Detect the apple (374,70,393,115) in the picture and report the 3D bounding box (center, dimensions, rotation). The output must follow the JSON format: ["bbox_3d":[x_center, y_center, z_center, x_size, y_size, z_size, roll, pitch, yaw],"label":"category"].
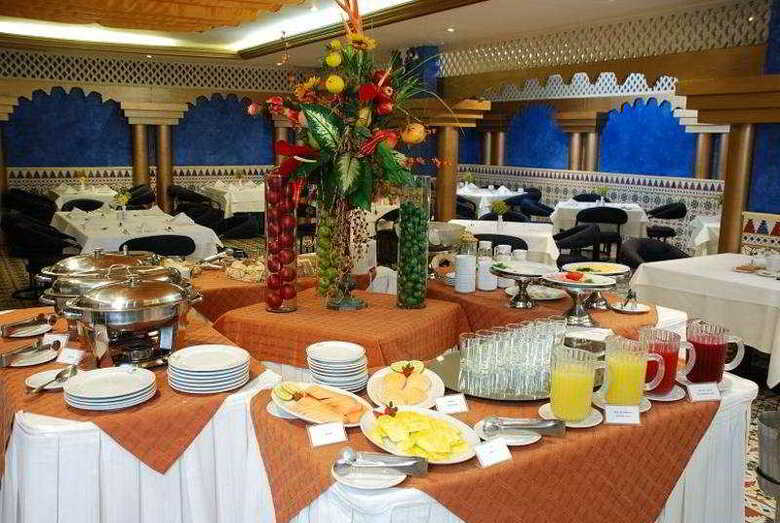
[{"bbox_3d":[-0.018,-0.851,2.664,0.072,0.222,0.136,5,10,29],"label":"apple"}]

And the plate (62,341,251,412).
[{"bbox_3d":[-0.940,0.468,2.129,0.448,0.055,0.283,-5,11,-25],"label":"plate"}]

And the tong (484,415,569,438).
[{"bbox_3d":[0.441,0.535,1.753,0.297,0.068,0.088,1,-32,7],"label":"tong"}]

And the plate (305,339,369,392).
[{"bbox_3d":[-0.236,0.401,2.175,0.205,0.085,0.208,-5,15,-26],"label":"plate"}]

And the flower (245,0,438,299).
[{"bbox_3d":[-0.218,-0.529,2.716,0.797,1.537,0.417,0,9,2],"label":"flower"}]

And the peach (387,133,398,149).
[{"bbox_3d":[0.011,-0.610,2.694,0.064,0.061,0.061,10,35,-7],"label":"peach"}]

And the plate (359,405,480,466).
[{"bbox_3d":[0.093,0.549,1.696,0.230,0.027,0.174,14,21,36],"label":"plate"}]

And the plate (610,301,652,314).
[{"bbox_3d":[1.341,0.244,2.924,0.255,0.056,0.131,-2,8,-12],"label":"plate"}]

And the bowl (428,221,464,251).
[{"bbox_3d":[0.334,-0.159,3.259,0.208,0.086,0.185,3,8,-4],"label":"bowl"}]

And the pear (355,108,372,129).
[{"bbox_3d":[-0.123,-0.721,2.672,0.098,0.099,0.037,-5,10,-33],"label":"pear"}]

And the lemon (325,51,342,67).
[{"bbox_3d":[-0.274,-0.984,2.604,0.077,0.067,0.075,-19,28,-37],"label":"lemon"}]

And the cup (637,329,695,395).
[{"bbox_3d":[1.035,0.375,1.983,0.136,0.184,0.202,9,-11,-29],"label":"cup"}]

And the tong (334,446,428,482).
[{"bbox_3d":[-0.030,0.599,1.588,0.262,0.054,0.102,2,9,3],"label":"tong"}]

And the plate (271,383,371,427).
[{"bbox_3d":[-0.251,0.496,1.886,0.238,0.041,0.162,14,18,36],"label":"plate"}]

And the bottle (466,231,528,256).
[{"bbox_3d":[1.152,-0.212,5.705,0.334,0.166,0.570,-7,10,-41],"label":"bottle"}]

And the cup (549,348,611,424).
[{"bbox_3d":[0.632,0.413,1.815,0.169,0.255,0.093,-2,9,-10],"label":"cup"}]
